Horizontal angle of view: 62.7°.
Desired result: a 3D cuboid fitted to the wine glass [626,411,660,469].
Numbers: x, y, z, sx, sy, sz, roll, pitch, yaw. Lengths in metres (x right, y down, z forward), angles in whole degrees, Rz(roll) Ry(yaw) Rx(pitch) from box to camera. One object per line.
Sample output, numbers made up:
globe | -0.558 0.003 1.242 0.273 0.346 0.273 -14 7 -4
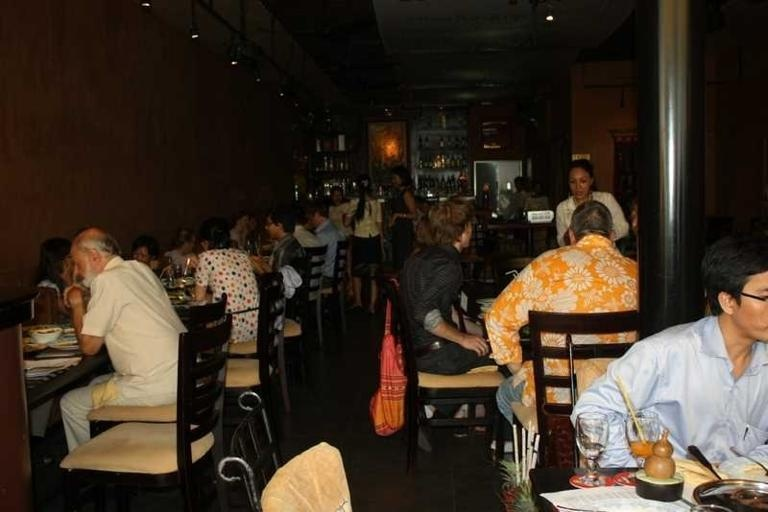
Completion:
wine glass | 1.055 0.732 2.536 0.147 0.207 0.124 -2 12 -5

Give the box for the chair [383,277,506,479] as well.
chair | 0.352 0.728 4.975 1.135 1.894 1.070 -2 5 -2

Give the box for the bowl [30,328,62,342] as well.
bowl | -2.185 0.503 4.078 0.136 0.057 0.144 1 -4 0
